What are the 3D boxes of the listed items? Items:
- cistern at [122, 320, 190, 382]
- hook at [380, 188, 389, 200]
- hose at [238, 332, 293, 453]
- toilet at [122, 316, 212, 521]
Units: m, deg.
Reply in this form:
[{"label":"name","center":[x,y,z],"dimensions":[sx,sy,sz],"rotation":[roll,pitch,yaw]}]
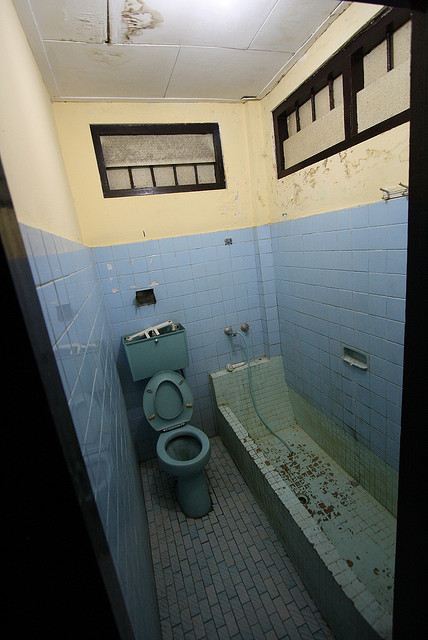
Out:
[{"label":"cistern","center":[-0.369,0.156,2.595],"dimensions":[0.476,0.375,0.295],"rotation":[-15,23,-22]},{"label":"hook","center":[0.706,-0.523,1.714],"dimensions":[0.038,0.047,0.035],"rotation":[-1,11,-21]},{"label":"hose","center":[0.304,0.487,2.912],"dimensions":[0.255,0.757,0.344],"rotation":[0,11,-24]},{"label":"toilet","center":[-0.272,0.543,2.454],"dimensions":[0.443,0.957,0.821],"rotation":[-11,14,-3]}]
